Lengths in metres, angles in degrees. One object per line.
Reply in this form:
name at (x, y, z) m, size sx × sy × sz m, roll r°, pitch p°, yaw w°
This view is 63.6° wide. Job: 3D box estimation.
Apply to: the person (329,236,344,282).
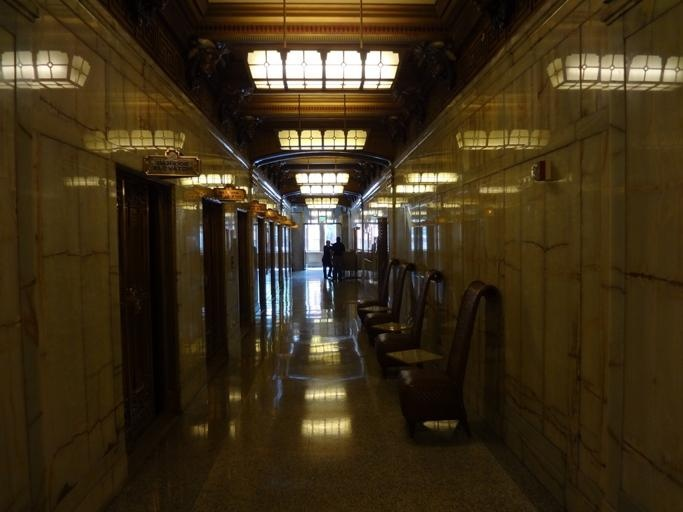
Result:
person at (-0.113, 0.099, 20.177) m, size 0.482 × 1.614 × 1.386 m, roll 0°, pitch 5°, yaw -2°
